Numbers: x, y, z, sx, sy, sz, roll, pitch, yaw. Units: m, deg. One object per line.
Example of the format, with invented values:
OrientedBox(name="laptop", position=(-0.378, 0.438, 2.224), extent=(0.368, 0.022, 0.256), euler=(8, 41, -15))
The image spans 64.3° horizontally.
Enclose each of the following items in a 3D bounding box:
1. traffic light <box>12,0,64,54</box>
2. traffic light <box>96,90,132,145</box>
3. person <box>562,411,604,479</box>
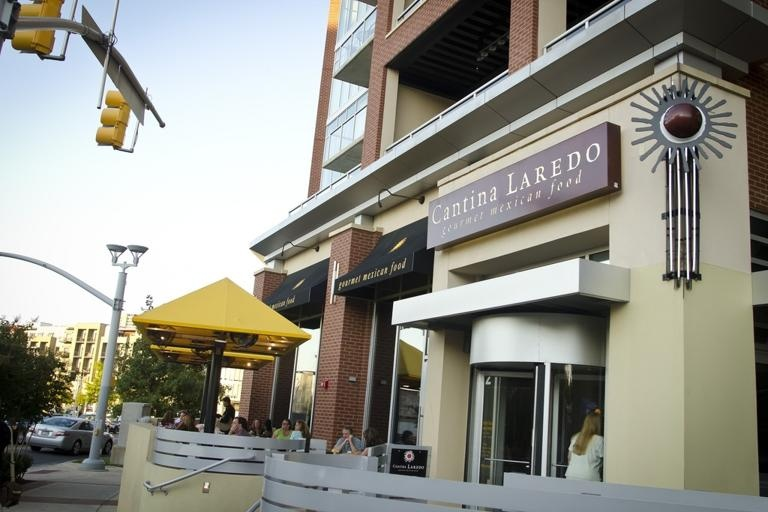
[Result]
OrientedBox(name="traffic light", position=(-6.194, -4.158, 10.914), extent=(0.620, 1.076, 0.689), euler=(15, -21, -32))
OrientedBox(name="traffic light", position=(-5.379, -2.731, 12.244), extent=(0.542, 1.109, 0.489), euler=(10, -3, -18))
OrientedBox(name="person", position=(3.958, 3.780, 12.046), extent=(0.717, 1.242, 0.326), euler=(-1, -19, 15))
